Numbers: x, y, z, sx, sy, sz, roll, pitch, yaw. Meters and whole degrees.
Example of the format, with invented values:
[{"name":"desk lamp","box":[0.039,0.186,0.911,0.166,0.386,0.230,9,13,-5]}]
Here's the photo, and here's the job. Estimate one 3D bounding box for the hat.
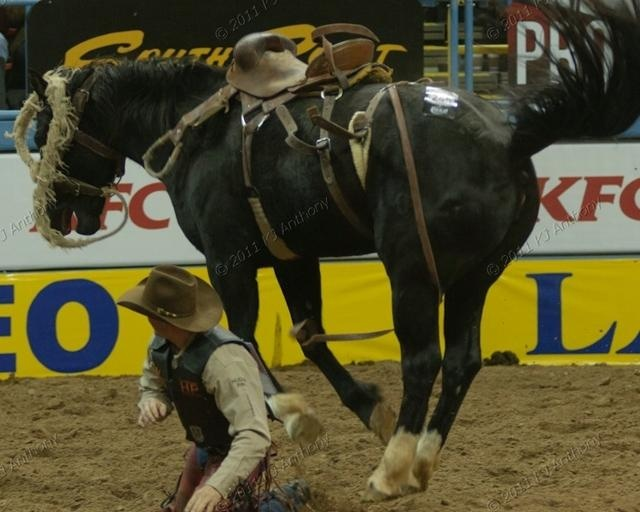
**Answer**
[{"name":"hat","box":[-0.752,0.220,5.766,0.436,0.165,0.351,25,40,11]}]
